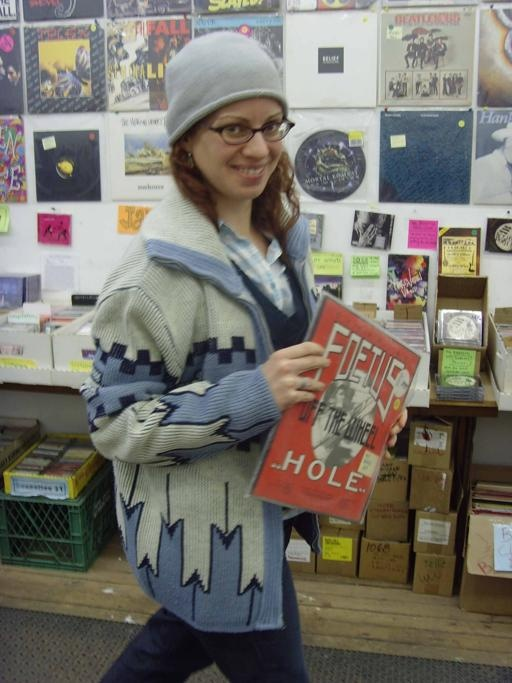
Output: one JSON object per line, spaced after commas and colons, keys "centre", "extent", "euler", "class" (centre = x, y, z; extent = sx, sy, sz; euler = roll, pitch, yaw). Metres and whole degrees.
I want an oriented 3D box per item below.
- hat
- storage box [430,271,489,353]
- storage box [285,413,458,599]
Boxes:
{"centre": [-0.062, -0.397, 0.889], "extent": [0.179, 0.145, 0.186], "euler": [1, 23, 41], "class": "hat"}
{"centre": [0.837, -0.135, 2.415], "extent": [0.201, 0.264, 0.194], "euler": [3, 12, 16], "class": "storage box"}
{"centre": [0.447, 0.595, 2.611], "extent": [0.712, 0.705, 0.700], "euler": [2, 24, 7], "class": "storage box"}
